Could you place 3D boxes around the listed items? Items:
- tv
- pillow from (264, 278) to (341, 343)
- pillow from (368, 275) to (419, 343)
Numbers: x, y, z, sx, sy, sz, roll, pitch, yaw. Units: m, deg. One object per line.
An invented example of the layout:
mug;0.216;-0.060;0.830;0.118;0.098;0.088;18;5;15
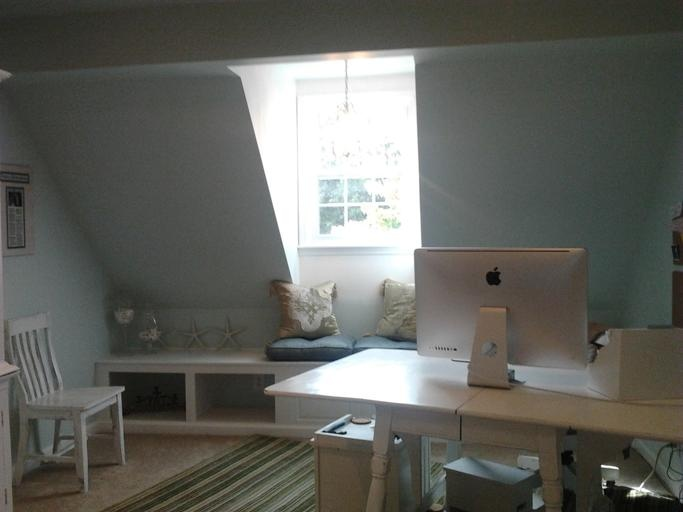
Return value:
tv;0.788;0.290;2.936;0.659;0.493;0.174;1;8;19
pillow;-0.328;0.459;4.987;0.509;0.442;0.218;-1;-29;-10
pillow;0.424;0.426;4.815;0.120;0.410;0.408;17;-14;-40
